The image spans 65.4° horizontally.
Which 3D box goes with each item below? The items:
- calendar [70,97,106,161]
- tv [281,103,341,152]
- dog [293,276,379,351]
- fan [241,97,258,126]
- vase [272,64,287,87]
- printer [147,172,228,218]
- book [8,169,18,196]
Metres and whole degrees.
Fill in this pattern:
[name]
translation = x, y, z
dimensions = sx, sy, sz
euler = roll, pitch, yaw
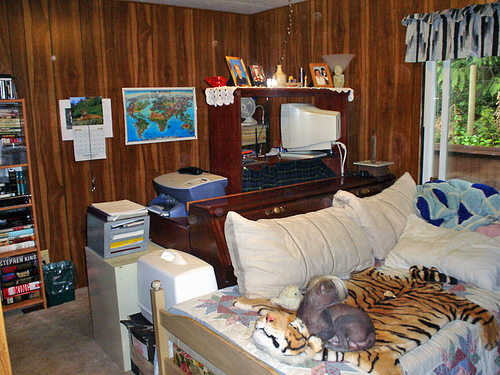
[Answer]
[calendar]
translation = -1.646, -0.616, 3.977
dimensions = 0.313, 0.656, 0.004
euler = -5, -6, -11
[tv]
translation = 0.606, -0.573, 3.852
dimensions = 0.475, 0.380, 0.488
euler = 5, 11, 25
[dog]
translation = 0.473, 0.662, 2.118
dimensions = 0.379, 0.297, 0.291
euler = 22, 14, 14
[fan]
translation = -0.027, -0.835, 4.189
dimensions = 0.196, 0.303, 0.192
euler = 10, 27, 21
[vase]
translation = 0.279, -1.027, 3.594
dimensions = 0.119, 0.204, 0.250
euler = -3, 13, 5
[printer]
translation = -0.482, 0.028, 3.065
dimensions = 0.537, 0.186, 0.370
euler = -15, 21, -43
[book]
translation = -2.175, -0.043, 3.580
dimensions = 0.064, 0.237, 0.028
euler = -14, 15, -39
